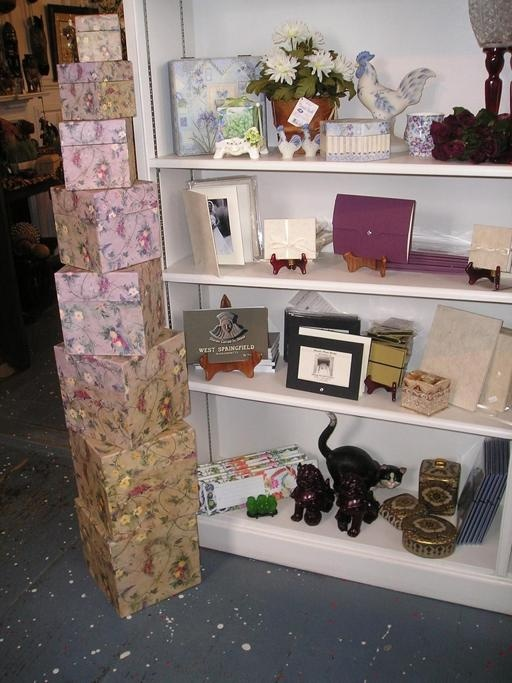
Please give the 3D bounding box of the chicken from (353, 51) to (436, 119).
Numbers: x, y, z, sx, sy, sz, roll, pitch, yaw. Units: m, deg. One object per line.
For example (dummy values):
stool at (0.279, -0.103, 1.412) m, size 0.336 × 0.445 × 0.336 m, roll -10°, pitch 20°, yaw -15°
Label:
chicken at (0.380, -0.681, 1.468) m, size 0.232 × 0.196 × 0.089 m, roll 23°, pitch 58°, yaw 33°

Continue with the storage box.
storage box at (-0.383, 0.035, 1.516) m, size 0.393 × 1.685 × 0.383 m, roll -13°, pitch 27°, yaw -23°

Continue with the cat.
cat at (0.369, 0.401, 1.907) m, size 0.296 × 0.248 × 0.109 m, roll 13°, pitch 8°, yaw 14°

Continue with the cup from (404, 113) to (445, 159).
cup at (0.424, -0.549, 1.431) m, size 0.119 × 0.124 × 0.118 m, roll -1°, pitch 32°, yaw 1°

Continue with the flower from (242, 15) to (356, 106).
flower at (0.121, -0.767, 1.487) m, size 0.290 × 0.200 × 0.151 m, roll -3°, pitch 25°, yaw -5°

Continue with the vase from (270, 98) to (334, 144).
vase at (0.124, -0.632, 1.532) m, size 0.133 × 0.089 × 0.127 m, roll 10°, pitch 28°, yaw 24°

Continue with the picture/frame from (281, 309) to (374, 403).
picture/frame at (0.227, 0.051, 1.698) m, size 0.282 × 0.264 × 0.099 m, roll 6°, pitch 14°, yaw 19°
